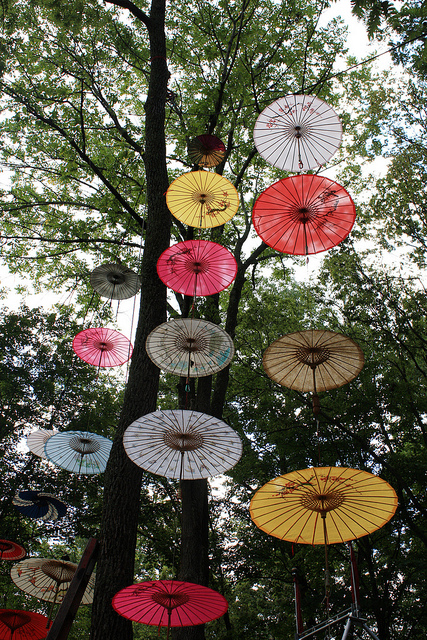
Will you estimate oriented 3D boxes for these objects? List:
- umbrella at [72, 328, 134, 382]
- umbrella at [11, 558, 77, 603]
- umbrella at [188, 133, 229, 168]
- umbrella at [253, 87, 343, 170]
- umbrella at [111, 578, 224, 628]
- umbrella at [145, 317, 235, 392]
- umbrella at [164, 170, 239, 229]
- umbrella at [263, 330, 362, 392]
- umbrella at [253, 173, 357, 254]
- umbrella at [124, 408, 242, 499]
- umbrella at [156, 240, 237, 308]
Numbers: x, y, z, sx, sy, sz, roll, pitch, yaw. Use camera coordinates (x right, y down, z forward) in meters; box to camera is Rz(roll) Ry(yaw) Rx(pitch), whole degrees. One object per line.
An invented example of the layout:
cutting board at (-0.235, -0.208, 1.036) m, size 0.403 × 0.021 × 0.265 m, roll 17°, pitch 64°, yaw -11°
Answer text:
umbrella at (-1.865, 0.494, 10.565) m, size 0.916 × 0.863 × 0.782 m, roll 5°, pitch -56°, yaw 0°
umbrella at (-2.661, 3.991, 9.401) m, size 0.867 × 0.646 × 1.469 m, roll 11°, pitch -22°, yaw -13°
umbrella at (-0.106, -2.736, 9.979) m, size 0.621 × 0.592 × 0.559 m, roll 4°, pitch -74°, yaw 3°
umbrella at (1.034, -2.283, 7.564) m, size 0.893 × 0.637 × 0.811 m, roll 21°, pitch -26°, yaw -35°
umbrella at (-0.487, 3.360, 7.254) m, size 0.769 × 0.539 × 1.285 m, roll -11°, pitch -26°, yaw 36°
umbrella at (-0.332, 0.467, 8.109) m, size 1.122 × 0.941 × 1.018 m, roll 4°, pitch -47°, yaw -1°
umbrella at (-0.143, -1.708, 9.105) m, size 1.063 × 1.001 × 0.952 m, roll 2°, pitch -74°, yaw 1°
umbrella at (1.108, 0.454, 6.833) m, size 0.874 × 0.816 × 0.791 m, roll 0°, pitch -66°, yaw 4°
umbrella at (1.027, -1.066, 7.614) m, size 1.014 × 0.947 × 0.962 m, roll 16°, pitch -42°, yaw 1°
umbrella at (-0.381, 1.598, 7.709) m, size 1.238 × 0.682 × 1.402 m, roll -10°, pitch -25°, yaw 33°
umbrella at (-0.282, -0.794, 8.956) m, size 1.089 × 1.157 × 1.007 m, roll -8°, pitch -62°, yaw 3°
